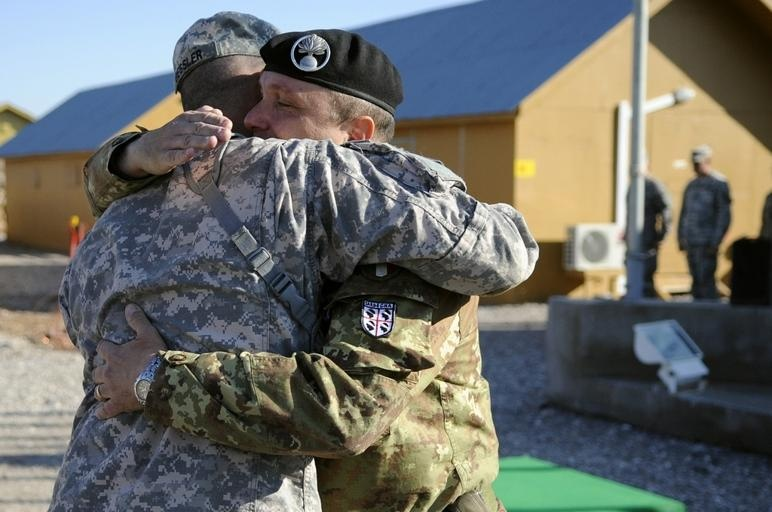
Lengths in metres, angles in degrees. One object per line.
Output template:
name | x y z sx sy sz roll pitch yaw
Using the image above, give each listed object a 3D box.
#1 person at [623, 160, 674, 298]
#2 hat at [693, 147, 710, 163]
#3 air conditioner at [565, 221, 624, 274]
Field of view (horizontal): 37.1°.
person | 2.738 -0.230 11.604 0.238 1.265 0.425 0 -1 33
hat | 3.255 -1.063 11.856 0.168 0.176 0.173 -2 -1 -7
air conditioner | 2.971 -0.120 16.308 1.004 0.793 0.573 0 -1 4
